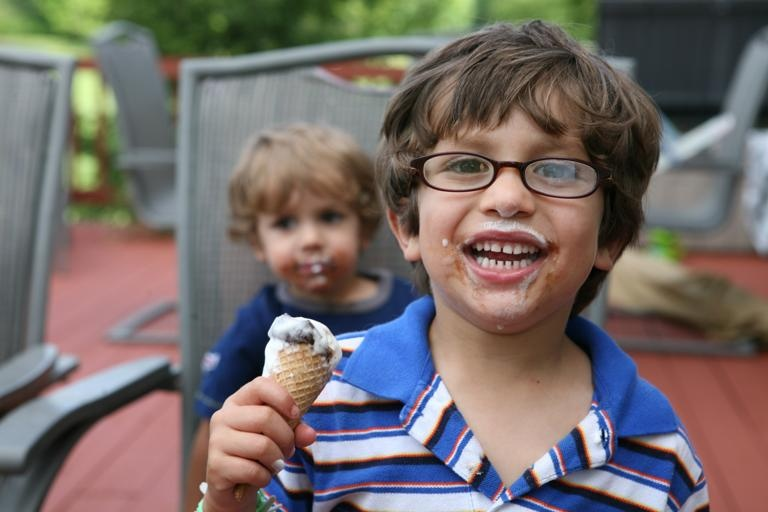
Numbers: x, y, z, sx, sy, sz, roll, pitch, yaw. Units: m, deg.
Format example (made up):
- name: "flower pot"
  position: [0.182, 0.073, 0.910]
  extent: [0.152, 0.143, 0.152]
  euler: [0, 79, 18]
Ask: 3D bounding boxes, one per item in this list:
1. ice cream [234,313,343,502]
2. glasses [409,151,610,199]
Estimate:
- name: "ice cream"
  position: [-0.205, 0.288, 1.759]
  extent: [0.199, 0.418, 0.200]
  euler: [0, 9, -14]
- name: "glasses"
  position: [0.291, -0.189, 1.887]
  extent: [0.464, 0.097, 0.107]
  euler: [1, 22, 4]
